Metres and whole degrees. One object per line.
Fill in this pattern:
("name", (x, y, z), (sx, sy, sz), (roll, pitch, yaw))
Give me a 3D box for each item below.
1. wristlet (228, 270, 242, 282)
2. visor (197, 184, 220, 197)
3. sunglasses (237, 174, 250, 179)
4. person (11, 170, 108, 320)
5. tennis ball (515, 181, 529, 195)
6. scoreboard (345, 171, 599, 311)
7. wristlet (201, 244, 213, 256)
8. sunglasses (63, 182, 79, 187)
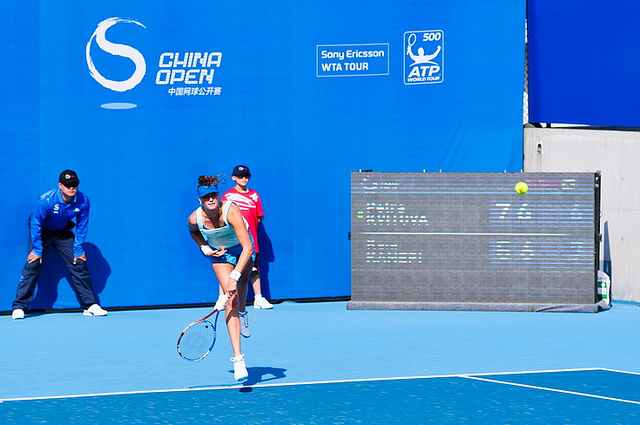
("wristlet", (-1.171, 0.879, 11.879), (0.152, 0.105, 0.146), (6, 11, -18))
("visor", (-1.575, -0.304, 11.991), (0.271, 0.168, 0.199), (-2, 10, -10))
("sunglasses", (-1.401, -0.661, 15.649), (0.219, 0.091, 0.130), (3, -3, -21))
("person", (-4.804, 0.604, 15.608), (1.510, 2.747, 0.569), (-3, 10, -15))
("tennis ball", (3.803, -0.453, 15.957), (0.262, 0.216, 0.229), (4, 3, 22))
("scoreboard", (2.976, 0.552, 16.030), (4.465, 2.553, 0.593), (0, 10, 5))
("wristlet", (-1.635, 0.559, 12.338), (0.170, 0.174, 0.051), (43, -20, 15))
("sunglasses", (-4.476, -0.490, 15.266), (0.264, 0.092, 0.115), (-7, 12, -36))
